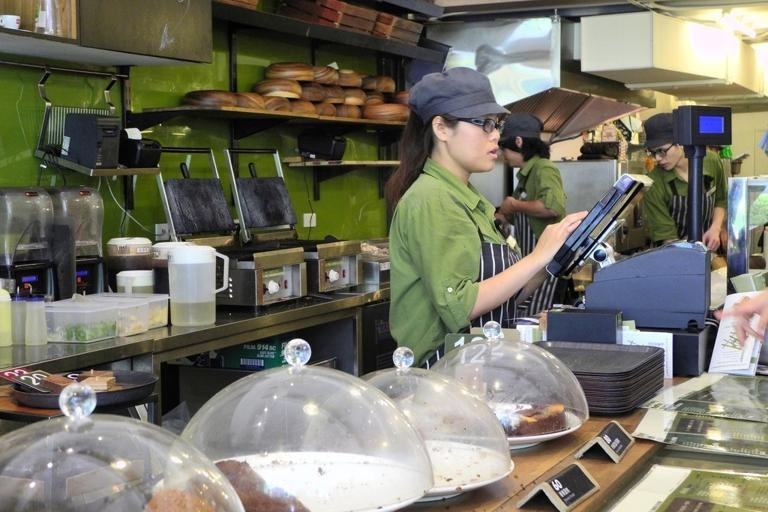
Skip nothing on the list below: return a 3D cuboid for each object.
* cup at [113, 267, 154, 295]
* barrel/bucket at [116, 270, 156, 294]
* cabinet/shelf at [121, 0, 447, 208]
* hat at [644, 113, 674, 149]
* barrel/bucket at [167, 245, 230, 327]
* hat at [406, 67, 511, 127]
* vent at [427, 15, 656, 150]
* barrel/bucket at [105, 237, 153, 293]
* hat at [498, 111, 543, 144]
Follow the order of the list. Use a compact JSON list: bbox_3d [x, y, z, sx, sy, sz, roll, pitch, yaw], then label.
[{"bbox_3d":[-1.278,0.124,2.993,0.119,0.104,0.153,0,-5,4],"label":"cup"},{"bbox_3d":[-1.263,0.133,3.009,0.183,0.116,0.306,-3,5,-24],"label":"barrel/bucket"},{"bbox_3d":[-0.733,-1.007,3.909,0.425,1.009,2.100,-6,-3,36],"label":"cabinet/shelf"},{"bbox_3d":[2.257,-1.031,4.858,0.264,0.289,0.203,3,6,42],"label":"hat"},{"bbox_3d":[-0.946,0.141,2.907,0.219,0.386,0.182,-2,4,-16],"label":"barrel/bucket"},{"bbox_3d":[0.246,-0.551,2.106,0.275,0.120,0.203,0,12,20],"label":"hat"},{"bbox_3d":[1.873,-1.849,6.541,1.216,0.618,2.772,10,6,31],"label":"vent"},{"bbox_3d":[-1.359,0.035,3.121,0.268,0.285,0.272,0,1,0],"label":"barrel/bucket"},{"bbox_3d":[1.102,-1.031,4.742,0.403,0.206,0.281,-1,11,5],"label":"hat"}]
